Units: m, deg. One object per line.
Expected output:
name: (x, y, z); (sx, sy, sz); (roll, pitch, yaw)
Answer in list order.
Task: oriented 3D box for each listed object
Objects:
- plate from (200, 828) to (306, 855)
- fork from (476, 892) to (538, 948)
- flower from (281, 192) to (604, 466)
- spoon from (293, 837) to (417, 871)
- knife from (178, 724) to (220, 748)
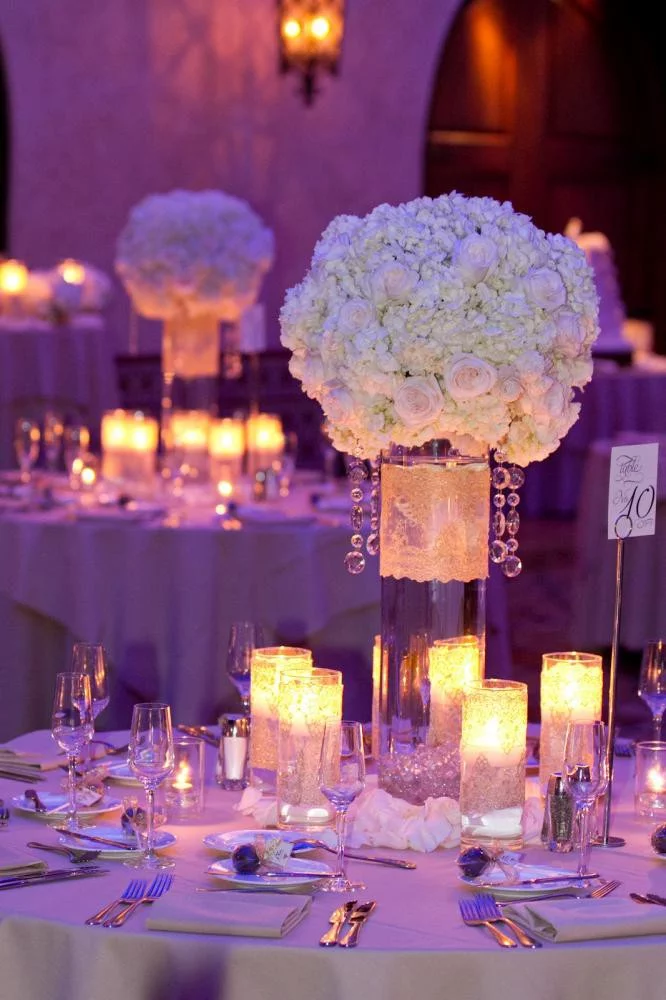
plate: (-0.101, 0.441, 1.610); (0.076, 0.013, 0.064); (2, 0, -41)
fork: (0.197, 0.454, 1.336); (0.018, 0.015, 0.104); (-8, 14, -9)
flower: (0.173, -0.254, 1.905); (0.422, 0.416, 0.387); (3, 8, 25)
spoon: (0.028, 0.458, 1.603); (0.158, 0.012, 0.051); (5, 33, 17)
knife: (-0.254, 0.433, 2.277); (0.040, 0.019, 0.225); (0, 1, -16)
